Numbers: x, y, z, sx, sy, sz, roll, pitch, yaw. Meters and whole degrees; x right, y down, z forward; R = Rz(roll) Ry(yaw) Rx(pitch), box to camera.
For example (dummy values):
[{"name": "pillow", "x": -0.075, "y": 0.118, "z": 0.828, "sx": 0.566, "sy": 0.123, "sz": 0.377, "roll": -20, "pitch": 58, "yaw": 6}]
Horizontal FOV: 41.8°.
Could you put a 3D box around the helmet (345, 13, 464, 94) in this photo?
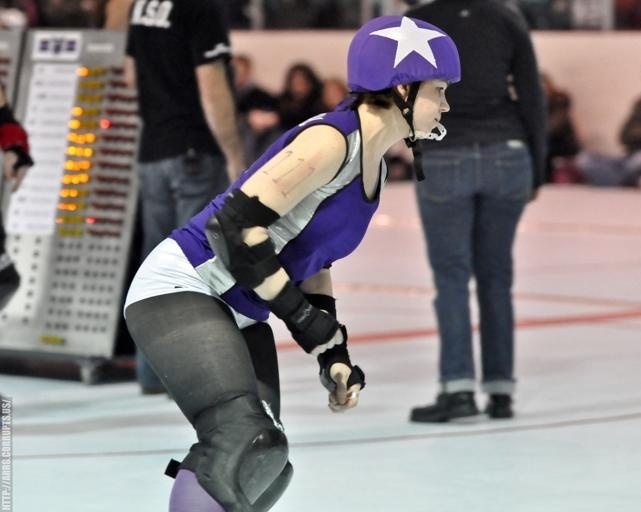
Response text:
[{"name": "helmet", "x": 0.200, "y": -0.517, "z": 2.126, "sx": 0.254, "sy": 0.138, "sz": 0.219, "roll": 0, "pitch": 4, "yaw": 4}]
